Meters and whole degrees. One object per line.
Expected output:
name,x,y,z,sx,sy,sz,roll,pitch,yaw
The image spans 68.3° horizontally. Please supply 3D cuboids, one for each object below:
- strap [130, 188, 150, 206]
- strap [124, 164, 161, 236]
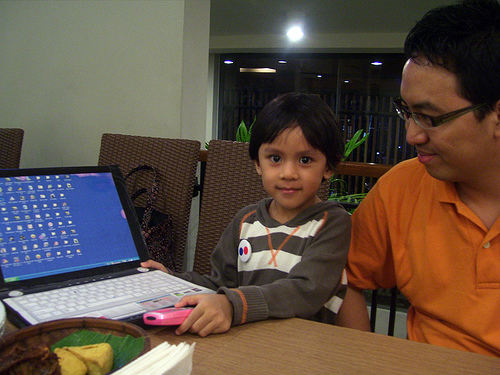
strap,-0.451,0.045,1.552,0.074,0.074,0.020,37,-3,28
strap,-0.407,0.046,1.531,0.169,0.290,0.047,2,-13,33
